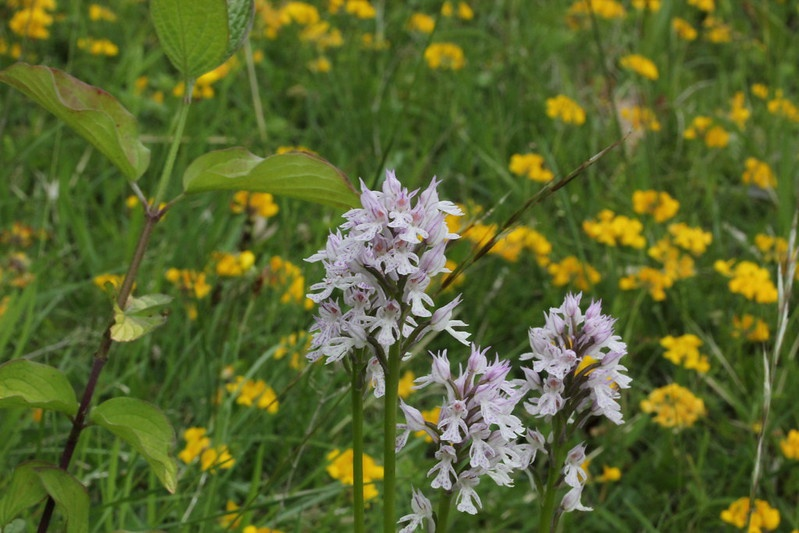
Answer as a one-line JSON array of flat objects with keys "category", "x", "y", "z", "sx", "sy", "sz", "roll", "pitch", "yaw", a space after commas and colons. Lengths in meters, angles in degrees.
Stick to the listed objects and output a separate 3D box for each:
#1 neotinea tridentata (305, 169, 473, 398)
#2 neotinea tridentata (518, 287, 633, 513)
[{"category": "neotinea tridentata", "x": -0.047, "y": 0.059, "z": 2.968, "sx": 0.546, "sy": 0.767, "sz": 0.281, "roll": 15, "pitch": -1, "yaw": 4}, {"category": "neotinea tridentata", "x": 0.671, "y": 0.549, "z": 3.401, "sx": 0.396, "sy": 0.771, "sz": 0.982, "roll": 14, "pitch": -2, "yaw": 15}]
